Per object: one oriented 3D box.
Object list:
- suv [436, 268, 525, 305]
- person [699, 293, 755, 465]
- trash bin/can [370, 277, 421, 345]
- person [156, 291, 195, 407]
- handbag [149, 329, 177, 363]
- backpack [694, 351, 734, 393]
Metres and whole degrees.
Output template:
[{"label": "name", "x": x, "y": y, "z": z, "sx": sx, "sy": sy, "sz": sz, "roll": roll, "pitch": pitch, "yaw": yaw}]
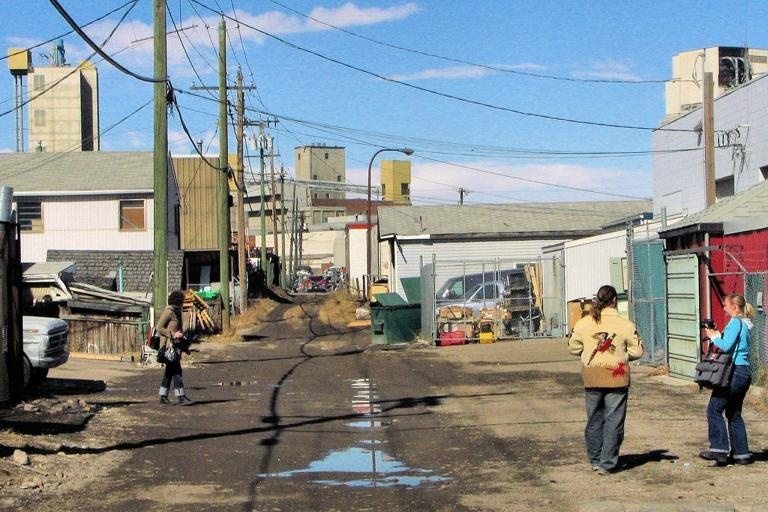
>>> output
[{"label": "suv", "x": 3.475, "y": 1.144, "z": 39.047, "sx": 2.557, "sy": 1.422, "sz": 1.492, "roll": 1, "pitch": 1, "yaw": -6}, {"label": "person", "x": 6.572, "y": 2.372, "z": 21.008, "sx": 1.173, "sy": 3.193, "sz": 1.084, "roll": -1, "pitch": -1, "yaw": 23}, {"label": "trash bin/can", "x": 0.389, "y": 2.209, "z": 37.642, "sx": 1.652, "sy": 1.731, "sz": 2.091, "roll": 0, "pitch": 0, "yaw": 1}, {"label": "person", "x": -5.070, "y": 2.247, "z": 25.398, "sx": 1.088, "sy": 2.515, "sz": 0.969, "roll": -1, "pitch": -1, "yaw": 0}, {"label": "handbag", "x": -5.203, "y": 2.123, "z": 25.280, "sx": 0.720, "sy": 0.768, "sz": 0.345, "roll": -3, "pitch": -2, "yaw": 38}, {"label": "backpack", "x": 6.303, "y": 2.166, "z": 20.562, "sx": 0.628, "sy": 0.643, "sz": 0.306, "roll": -2, "pitch": -2, "yaw": 30}]
